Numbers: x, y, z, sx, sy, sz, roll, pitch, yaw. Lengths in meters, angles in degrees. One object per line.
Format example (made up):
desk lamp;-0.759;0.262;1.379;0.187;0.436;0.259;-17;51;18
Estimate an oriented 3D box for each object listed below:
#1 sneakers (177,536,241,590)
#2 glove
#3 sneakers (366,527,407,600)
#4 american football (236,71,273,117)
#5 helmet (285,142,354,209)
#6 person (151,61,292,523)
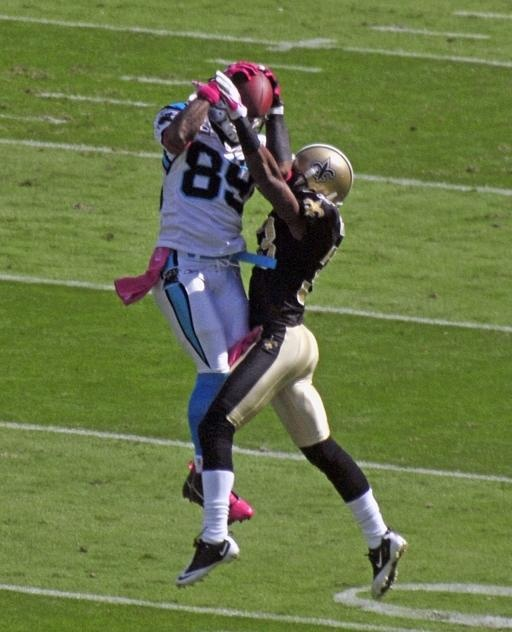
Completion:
sneakers;-0.259;1.410;8.731;0.296;0.354;0.164;12;21;6
glove;-0.082;-1.321;8.911;0.280;0.281;0.358;-23;26;-24
sneakers;0.753;1.465;9.125;0.247;0.428;0.159;13;32;7
american football;0.023;-1.286;8.861;0.209;0.203;0.258;-7;25;0
helmet;0.369;-0.811;9.023;0.386;0.337;0.287;47;-6;0
person;-0.278;-0.137;8.995;0.748;2.637;0.940;4;22;-16
